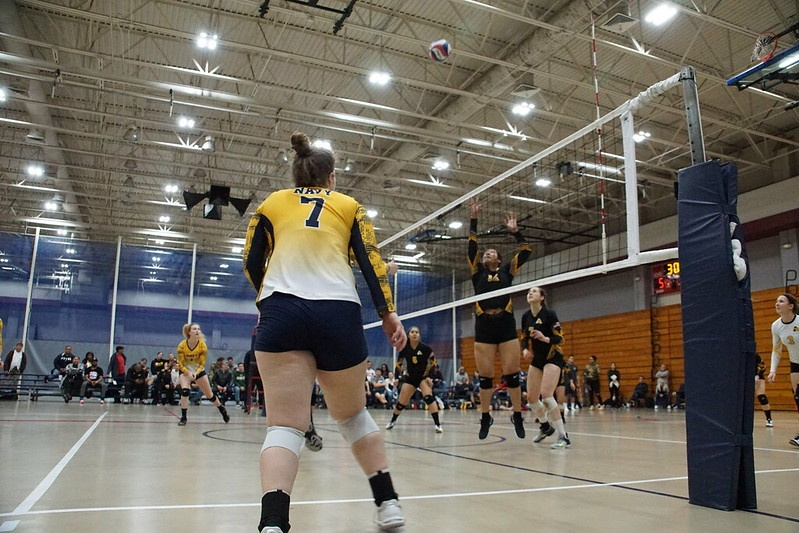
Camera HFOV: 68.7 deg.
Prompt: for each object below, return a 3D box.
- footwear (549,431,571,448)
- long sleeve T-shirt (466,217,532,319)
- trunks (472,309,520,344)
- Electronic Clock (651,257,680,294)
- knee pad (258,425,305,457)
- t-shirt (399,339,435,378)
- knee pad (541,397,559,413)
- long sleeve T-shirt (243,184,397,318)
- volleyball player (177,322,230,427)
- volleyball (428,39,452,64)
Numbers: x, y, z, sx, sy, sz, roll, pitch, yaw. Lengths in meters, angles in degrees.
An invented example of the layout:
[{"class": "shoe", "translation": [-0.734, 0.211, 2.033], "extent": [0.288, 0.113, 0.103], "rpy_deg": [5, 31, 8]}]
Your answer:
[{"class": "footwear", "translation": [2.256, 2.473, 8.222], "extent": [0.132, 0.184, 0.400], "rpy_deg": [-16, -25, 36]}, {"class": "long sleeve T-shirt", "translation": [1.507, 0.222, 8.975], "extent": [1.032, 2.158, 0.549], "rpy_deg": [1, -20, 3]}, {"class": "trunks", "translation": [1.452, 0.908, 8.914], "extent": [0.654, 0.539, 0.414], "rpy_deg": [-4, 3, 4]}, {"class": "Electronic Clock", "translation": [9.036, 0.378, 19.760], "extent": [0.155, 0.838, 1.159], "rpy_deg": [6, -10, -19]}, {"class": "knee pad", "translation": [-0.934, 1.367, 4.616], "extent": [0.251, 0.169, 0.260], "rpy_deg": [1, -22, 16]}, {"class": "t-shirt", "translation": [0.353, 1.788, 11.342], "extent": [0.676, 0.680, 0.385], "rpy_deg": [-2, 17, 32]}, {"class": "knee pad", "translation": [2.199, 2.046, 8.605], "extent": [0.198, 0.198, 0.198], "rpy_deg": [33, -55, -7]}, {"class": "long sleeve T-shirt", "translation": [-0.694, -0.073, 5.152], "extent": [1.252, 1.243, 0.735], "rpy_deg": [-1, -22, 9]}, {"class": "volleyball player", "translation": [-3.804, 2.055, 11.306], "extent": [1.049, 1.929, 0.691], "rpy_deg": [5, -12, -40]}, {"class": "volleyball", "translation": [1.000, -4.987, 13.589], "extent": [0.583, 0.452, 0.576], "rpy_deg": [-15, 20, -31]}]
